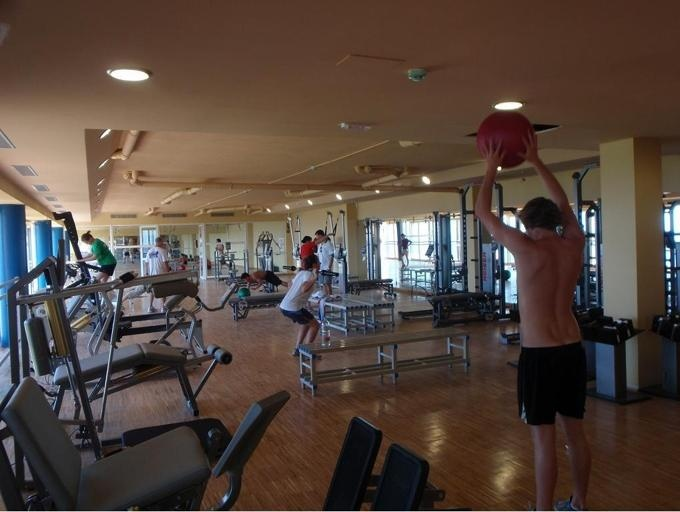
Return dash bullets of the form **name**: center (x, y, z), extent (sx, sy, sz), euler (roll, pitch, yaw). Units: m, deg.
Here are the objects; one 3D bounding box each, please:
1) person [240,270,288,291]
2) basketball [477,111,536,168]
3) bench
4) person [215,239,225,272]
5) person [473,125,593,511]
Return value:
- **person**: center (-1.741, 0.582, 11.113), extent (1.630, 0.511, 0.676), euler (1, -5, -23)
- **basketball**: center (0.958, -0.683, 2.862), extent (0.312, 0.335, 0.330), euler (-2, 4, 9)
- **bench**: center (0.626, 1.232, 6.612), extent (2.640, 0.903, 1.888), euler (-5, 0, -17)
- **person**: center (-4.724, -0.109, 19.222), extent (0.318, 1.250, 1.490), euler (-5, 0, -14)
- **person**: center (1.251, 0.439, 3.009), extent (0.729, 2.038, 0.360), euler (-5, 1, -35)
